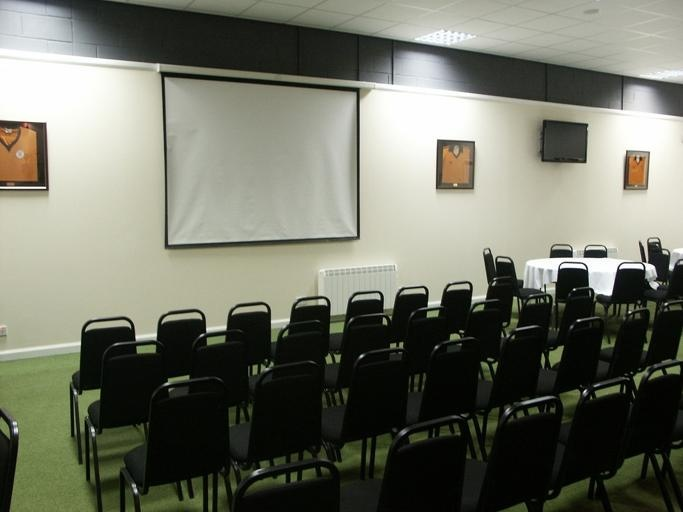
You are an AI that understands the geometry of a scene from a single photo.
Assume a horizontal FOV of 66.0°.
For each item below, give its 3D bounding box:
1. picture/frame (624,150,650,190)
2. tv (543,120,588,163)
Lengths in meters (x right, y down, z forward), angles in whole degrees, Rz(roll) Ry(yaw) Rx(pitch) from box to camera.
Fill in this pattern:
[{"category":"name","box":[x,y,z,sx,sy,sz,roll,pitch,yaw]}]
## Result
[{"category":"picture/frame","box":[6.187,-1.787,11.020,0.617,0.794,0.054,-1,3,-18]},{"category":"tv","box":[4.164,-2.162,9.864,0.732,0.600,0.077,2,-1,-31]}]
